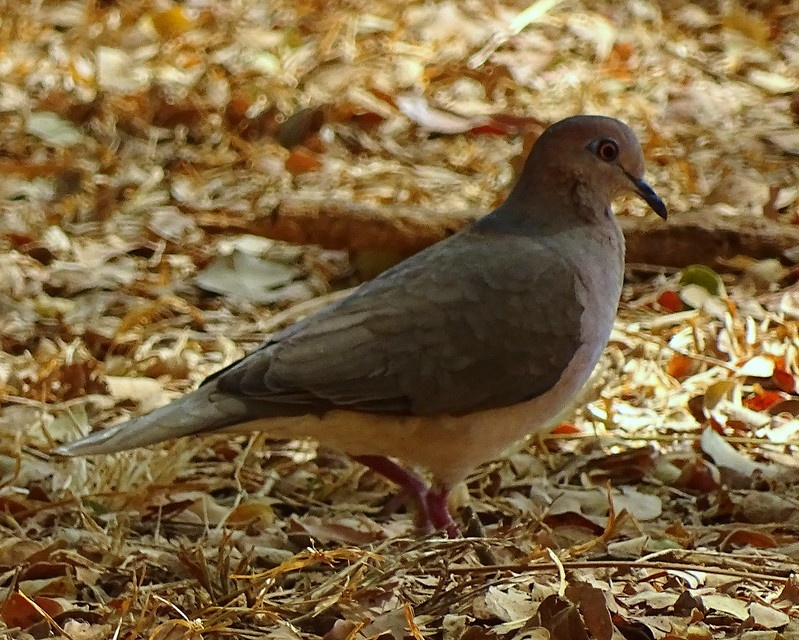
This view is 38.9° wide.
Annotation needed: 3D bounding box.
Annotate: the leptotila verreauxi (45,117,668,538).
[{"bbox_3d":[0.053,0.020,2.389,1.153,0.823,0.547,-21,39,-38],"label":"leptotila verreauxi"}]
